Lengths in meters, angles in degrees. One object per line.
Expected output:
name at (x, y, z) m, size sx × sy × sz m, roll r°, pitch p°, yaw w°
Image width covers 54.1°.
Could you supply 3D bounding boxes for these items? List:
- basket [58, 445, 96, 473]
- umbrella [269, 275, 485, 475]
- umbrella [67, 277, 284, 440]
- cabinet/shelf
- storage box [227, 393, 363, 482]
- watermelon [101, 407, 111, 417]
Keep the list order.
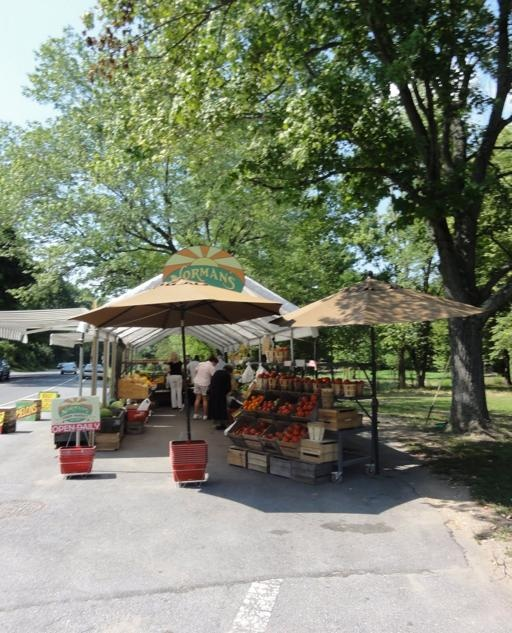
basket at (-2.694, 2.149, 7.689) m, size 0.714 × 0.408 × 0.412 m, roll 1°, pitch -12°, yaw -9°
umbrella at (1.752, 0.855, 7.922) m, size 1.894 × 3.212 × 2.496 m, roll 5°, pitch -8°, yaw -40°
umbrella at (-1.323, 0.315, 8.749) m, size 3.733 × 2.667 × 3.791 m, roll 0°, pitch 1°, yaw 44°
cabinet/shelf at (0.626, 1.934, 8.507) m, size 1.285 × 1.142 × 2.187 m, roll -2°, pitch -4°, yaw -38°
storage box at (0.594, 1.925, 8.023) m, size 1.518 × 1.205 × 2.529 m, roll 1°, pitch -4°, yaw -31°
watermelon at (-3.133, 2.003, 10.482) m, size 0.194 × 0.125 × 0.241 m, roll 13°, pitch 1°, yaw 27°
